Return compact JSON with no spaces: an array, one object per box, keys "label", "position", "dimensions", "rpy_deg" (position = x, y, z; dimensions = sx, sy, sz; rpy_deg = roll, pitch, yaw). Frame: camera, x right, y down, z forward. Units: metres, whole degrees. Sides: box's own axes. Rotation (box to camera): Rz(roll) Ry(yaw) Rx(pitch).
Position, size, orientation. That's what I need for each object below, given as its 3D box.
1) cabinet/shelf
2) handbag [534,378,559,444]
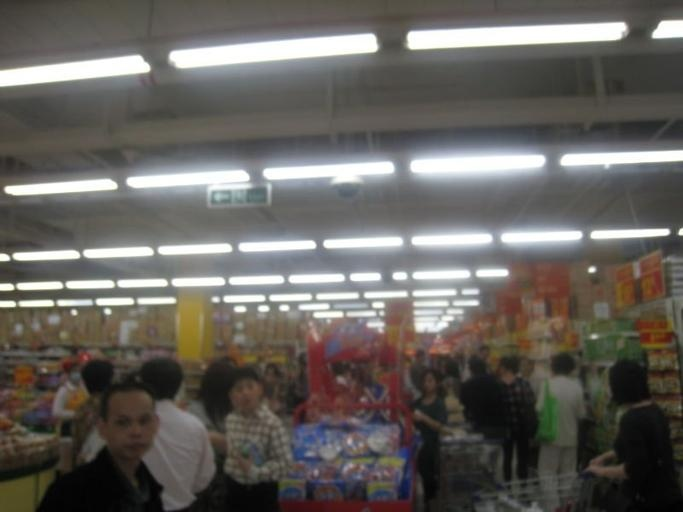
[{"label":"cabinet/shelf","position":[3.096,1.211,7.398],"dimensions":[0.650,0.973,0.699],"rpy_deg":[-5,-12,21]},{"label":"handbag","position":[2.235,1.709,7.109],"dimensions":[0.256,0.698,0.199],"rpy_deg":[0,11,7]}]
